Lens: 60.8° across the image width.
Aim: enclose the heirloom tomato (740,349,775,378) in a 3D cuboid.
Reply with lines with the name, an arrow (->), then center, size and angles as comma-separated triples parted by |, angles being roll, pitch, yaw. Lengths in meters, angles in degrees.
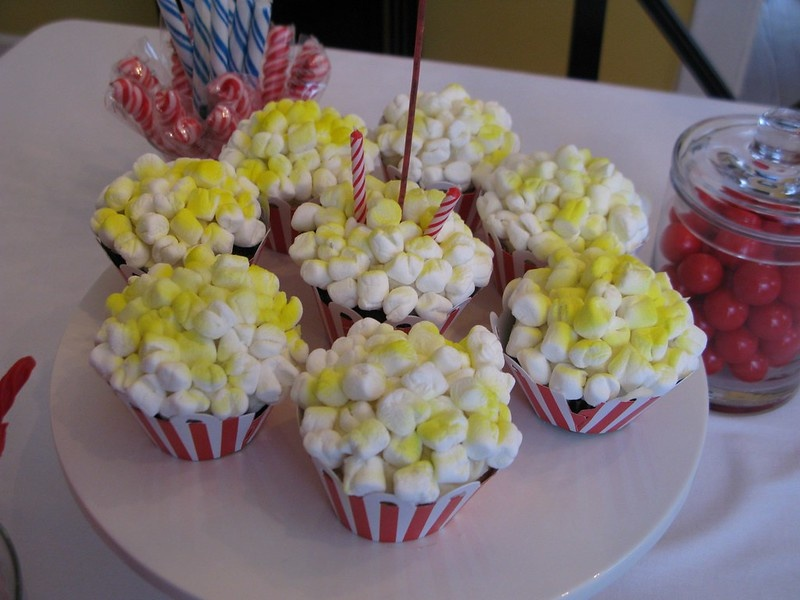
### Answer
heirloom tomato -> 0.786, 0.146, 1.537 | 0.057, 0.071, 0.068 | -6, 86, 0
